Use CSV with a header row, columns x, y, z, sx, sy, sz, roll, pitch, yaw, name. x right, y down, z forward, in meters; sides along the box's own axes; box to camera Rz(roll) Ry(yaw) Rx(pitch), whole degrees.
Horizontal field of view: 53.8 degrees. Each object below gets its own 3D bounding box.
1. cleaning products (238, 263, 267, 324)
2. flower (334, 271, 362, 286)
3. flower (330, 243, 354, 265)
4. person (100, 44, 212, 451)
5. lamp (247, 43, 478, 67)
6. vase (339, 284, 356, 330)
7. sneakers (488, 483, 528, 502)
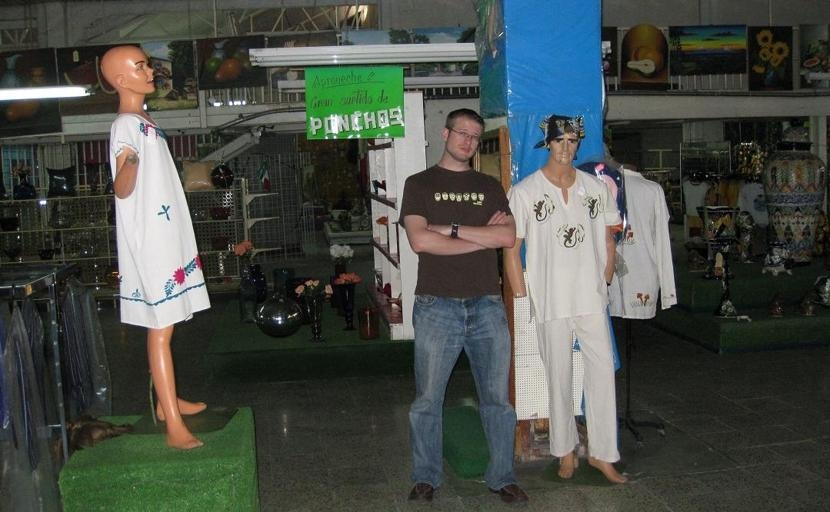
x,y,z,sx,sy,sz,roll,pitch,yaw,name
-2.263,0.540,11.362,0.279,0.675,0.787,1,3,-5,cleaning products
-0.898,0.315,10.903,0.275,0.179,0.377,3,10,30,flower
-1.062,-0.088,11.732,0.358,0.255,0.355,0,-27,-1,flower
-2.291,-0.103,7.274,0.857,3.533,0.525,1,9,25,person
-0.668,-2.640,10.651,2.910,0.223,0.405,-3,8,-4,lamp
-0.892,0.671,10.899,0.253,0.604,0.249,-5,-4,-6,vase
0.944,2.281,7.910,0.281,0.111,0.173,1,3,8,sneakers
